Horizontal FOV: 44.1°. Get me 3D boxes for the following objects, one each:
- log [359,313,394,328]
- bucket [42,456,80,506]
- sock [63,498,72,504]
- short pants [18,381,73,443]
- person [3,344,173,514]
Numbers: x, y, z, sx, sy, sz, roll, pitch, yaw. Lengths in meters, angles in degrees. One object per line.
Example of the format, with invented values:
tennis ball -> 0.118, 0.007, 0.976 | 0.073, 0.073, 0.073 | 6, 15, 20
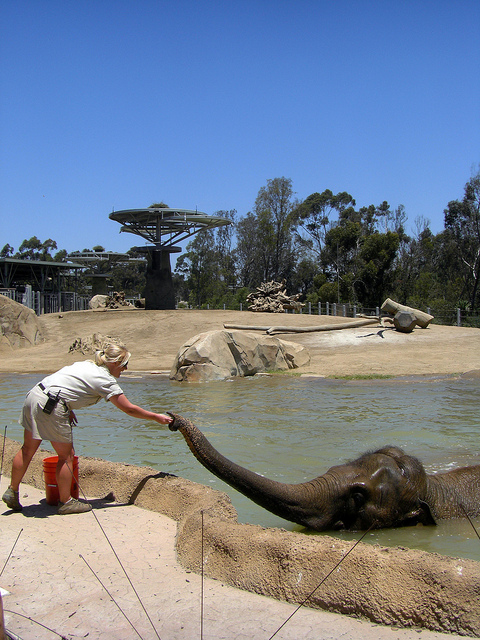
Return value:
log -> 6.204, 0.013, 26.957 | 1.696, 0.622, 0.432 | 8, -16, 9
bucket -> -1.303, 1.206, 4.535 | 0.356, 0.356, 0.354 | 0, -5, 0
sock -> -1.227, 1.278, 4.215 | 0.036, 0.008, 0.033 | -19, -20, -39
short pants -> -1.415, 0.636, 4.383 | 0.453, 0.434, 0.291 | 18, 12, 42
person -> -1.237, 0.794, 4.377 | 0.959, 1.209, 0.616 | -1, 2, -21
